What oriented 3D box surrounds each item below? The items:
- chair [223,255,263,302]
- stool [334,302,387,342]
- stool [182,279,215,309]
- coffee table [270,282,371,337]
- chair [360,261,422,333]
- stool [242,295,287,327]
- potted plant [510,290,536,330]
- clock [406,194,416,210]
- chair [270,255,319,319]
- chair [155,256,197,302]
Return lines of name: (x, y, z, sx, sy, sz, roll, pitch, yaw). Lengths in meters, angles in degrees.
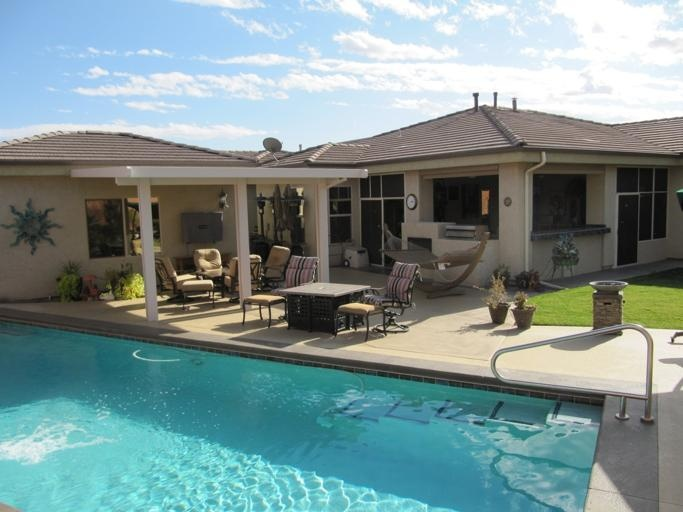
chair: (-2.821, 0.556, 13.563, 1.234, 1.124, 1.031, 5, 7, 30)
stool: (0.370, 1.255, 9.522, 0.824, 0.596, 0.735, 3, 6, 43)
stool: (-3.668, 0.908, 12.406, 0.823, 0.478, 0.743, -2, 12, -14)
coffee table: (-0.331, 0.937, 10.027, 1.278, 0.598, 1.222, 5, 12, 32)
chair: (0.993, 0.838, 10.103, 1.301, 1.211, 1.300, -3, 5, 26)
stool: (-1.571, 1.279, 10.461, 0.741, 0.625, 0.995, 0, -1, -43)
potted plant: (3.522, 1.053, 9.530, 0.442, 0.669, 0.543, -1, 5, 18)
clock: (2.194, -1.749, 15.608, 0.080, 0.497, 0.567, -8, 7, -34)
chair: (-1.115, 0.680, 11.174, 1.177, 1.137, 1.058, -3, 10, 4)
chair: (-4.320, 0.605, 13.004, 0.986, 1.126, 1.436, -2, -1, 43)
